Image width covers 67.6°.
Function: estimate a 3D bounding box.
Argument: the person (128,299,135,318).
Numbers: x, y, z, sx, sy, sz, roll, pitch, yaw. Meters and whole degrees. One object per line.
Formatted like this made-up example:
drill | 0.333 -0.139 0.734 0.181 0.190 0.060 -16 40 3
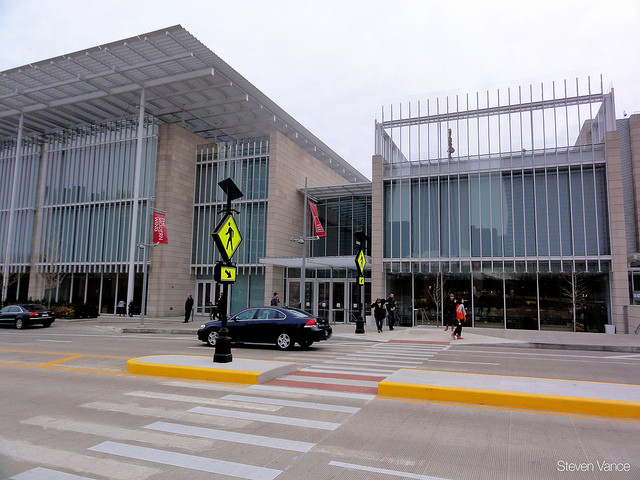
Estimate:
person | -13.955 5.029 35.298 0.405 1.230 0.988 4 -9 -24
